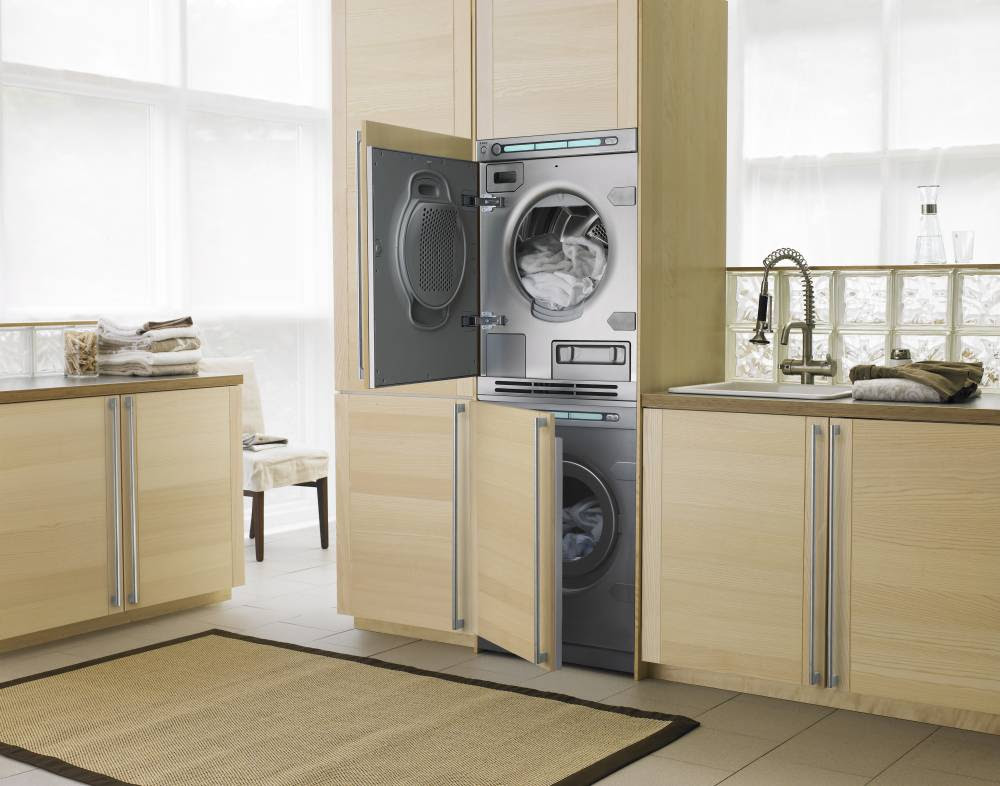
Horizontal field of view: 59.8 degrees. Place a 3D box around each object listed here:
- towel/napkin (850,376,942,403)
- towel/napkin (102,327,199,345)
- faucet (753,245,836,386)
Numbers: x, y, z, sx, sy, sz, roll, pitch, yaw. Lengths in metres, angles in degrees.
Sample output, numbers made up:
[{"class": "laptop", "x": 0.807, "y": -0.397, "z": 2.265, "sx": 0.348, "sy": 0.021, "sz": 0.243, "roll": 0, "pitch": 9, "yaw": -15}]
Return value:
[{"class": "towel/napkin", "x": 1.215, "y": -0.004, "z": 2.662, "sx": 0.251, "sy": 0.071, "sz": 0.075, "roll": 1, "pitch": 3, "yaw": 24}, {"class": "towel/napkin", "x": -1.555, "y": -0.246, "z": 3.824, "sx": 0.407, "sy": 0.083, "sz": 0.190, "roll": -1, "pitch": 3, "yaw": -15}, {"class": "faucet", "x": 1.095, "y": -0.285, "z": 3.254, "sx": 0.310, "sy": 0.506, "sz": 0.251, "roll": 0, "pitch": 3, "yaw": 15}]
